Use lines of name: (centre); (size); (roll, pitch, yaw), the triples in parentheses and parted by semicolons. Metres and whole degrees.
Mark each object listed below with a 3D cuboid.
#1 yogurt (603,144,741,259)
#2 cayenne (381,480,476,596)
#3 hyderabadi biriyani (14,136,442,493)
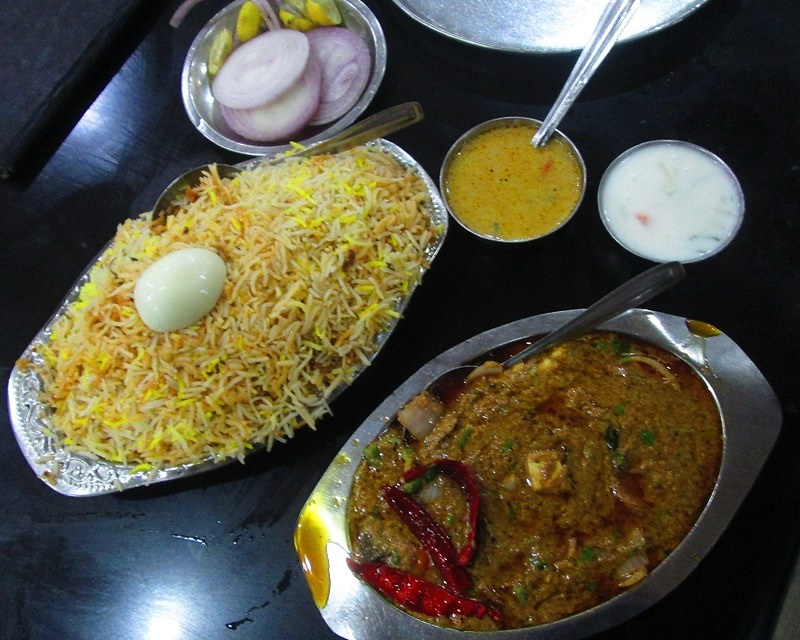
yogurt: (0.832, -0.377, 2.312); (0.426, 0.091, 0.390); (-19, 82, -2)
cayenne: (0.081, 0.607, 2.156); (0.119, 0.097, 0.405); (-45, 75, 0)
hyderabadi biriyani: (-0.701, -0.153, 2.777); (1.542, 0.992, 1.258); (-11, 33, -15)
